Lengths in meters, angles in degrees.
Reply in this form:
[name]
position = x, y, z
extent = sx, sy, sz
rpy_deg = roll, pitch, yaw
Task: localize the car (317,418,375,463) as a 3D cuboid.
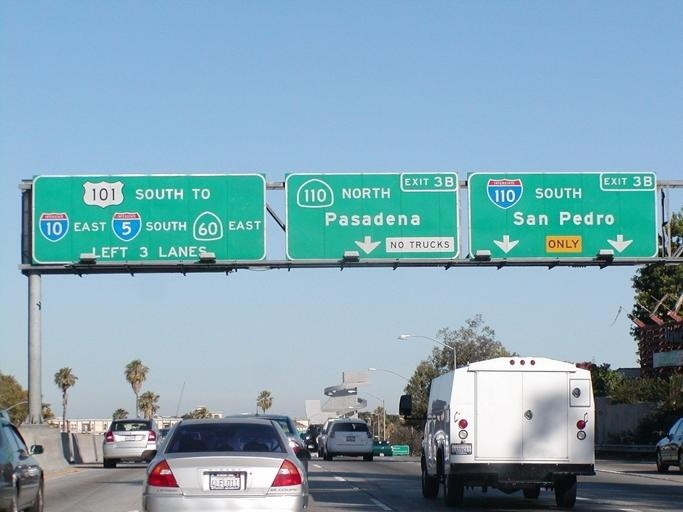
[car]
position = 0.297, 8.317, 70.355
extent = 1.803, 2.004, 3.415
rpy_deg = 2, -10, -7
